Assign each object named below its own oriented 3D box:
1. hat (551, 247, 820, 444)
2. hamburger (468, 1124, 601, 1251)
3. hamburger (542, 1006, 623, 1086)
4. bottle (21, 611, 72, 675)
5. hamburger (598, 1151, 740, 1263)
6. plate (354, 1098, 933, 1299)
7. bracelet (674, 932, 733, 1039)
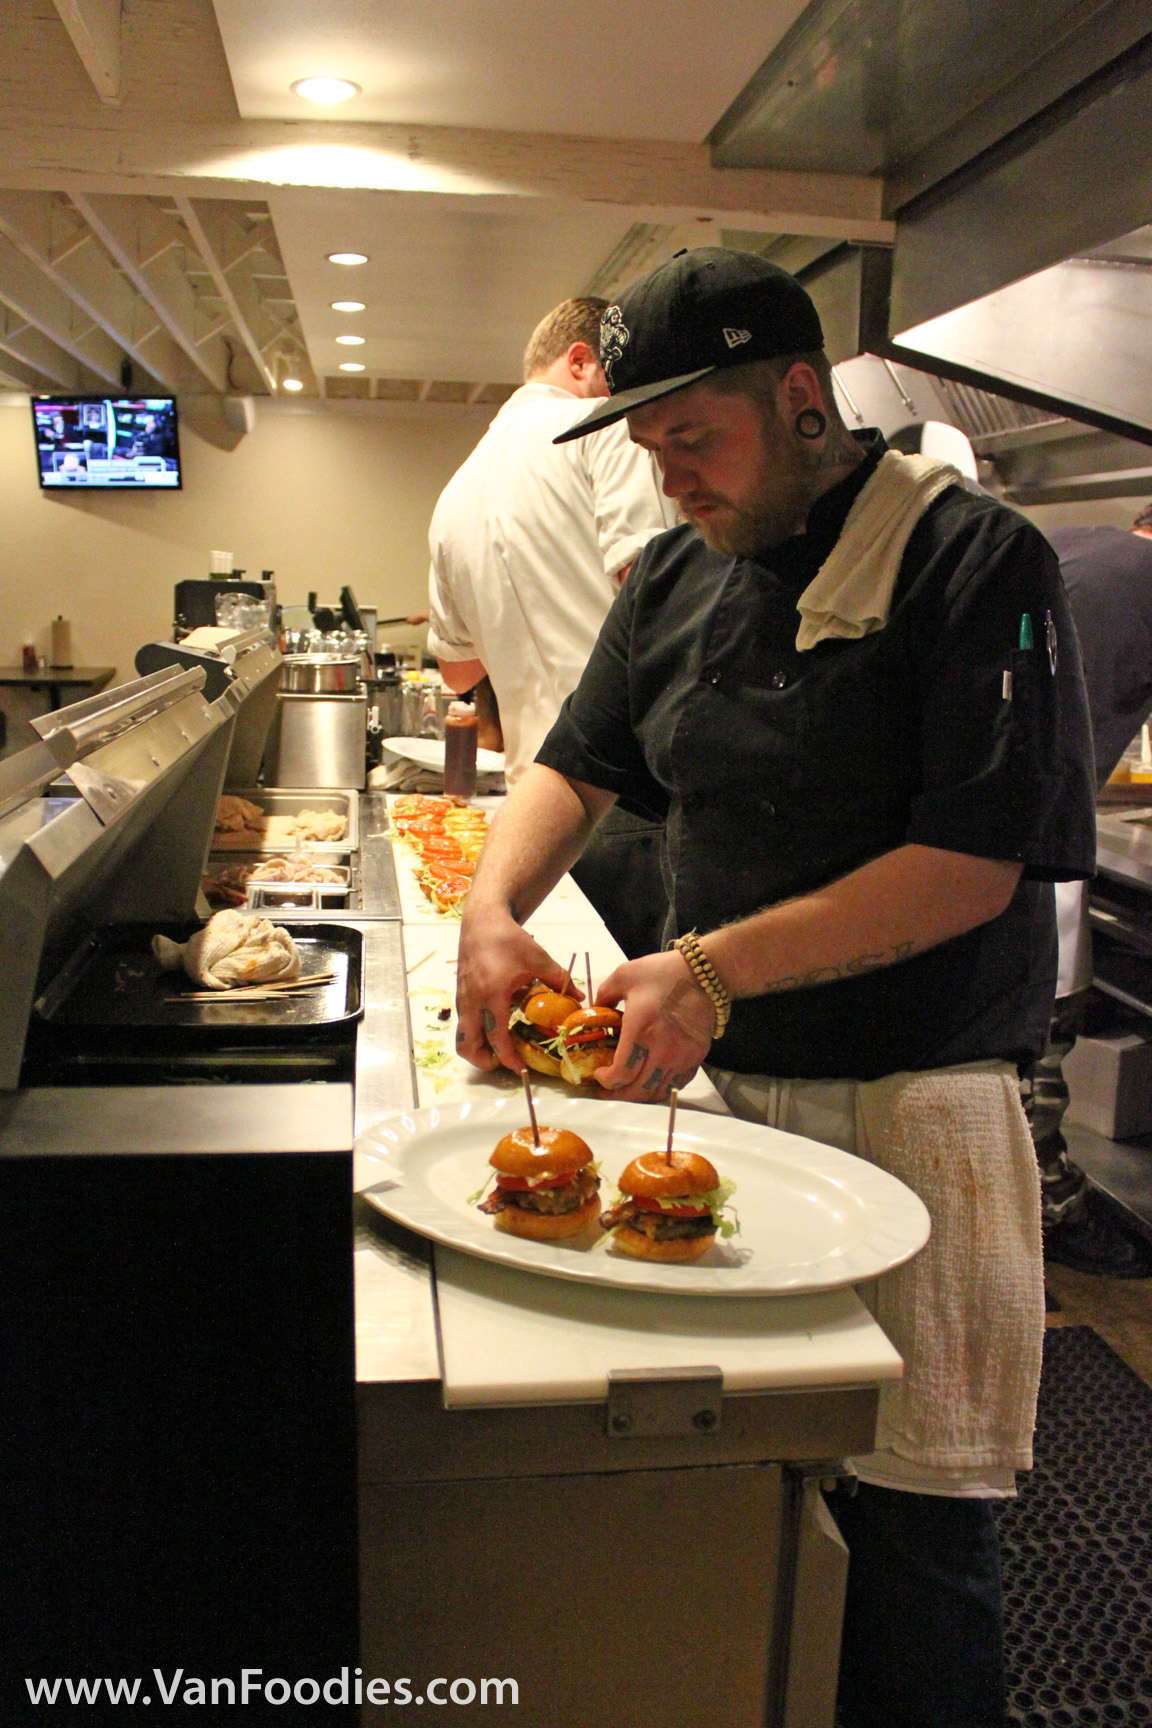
[{"bbox_3d":[0.128,-0.484,1.249,0.257,0.134,0.162,-26,31,-14],"label":"hat"},{"bbox_3d":[-0.024,0.240,0.971,0.093,0.067,0.090,-2,4,2],"label":"hamburger"},{"bbox_3d":[0.006,0.171,1.209,0.058,0.028,0.078,-22,37,33],"label":"hamburger"},{"bbox_3d":[-4.789,-2.002,11.475,0.435,0.510,0.377,-4,11,-18],"label":"bottle"},{"bbox_3d":[0.061,0.249,0.947,0.091,0.063,0.101,11,10,6],"label":"hamburger"},{"bbox_3d":[0.063,0.250,0.992,0.297,0.023,0.221,2,5,30],"label":"plate"},{"bbox_3d":[0.116,0.110,1.165,0.049,0.089,0.073,0,11,4],"label":"bracelet"}]
